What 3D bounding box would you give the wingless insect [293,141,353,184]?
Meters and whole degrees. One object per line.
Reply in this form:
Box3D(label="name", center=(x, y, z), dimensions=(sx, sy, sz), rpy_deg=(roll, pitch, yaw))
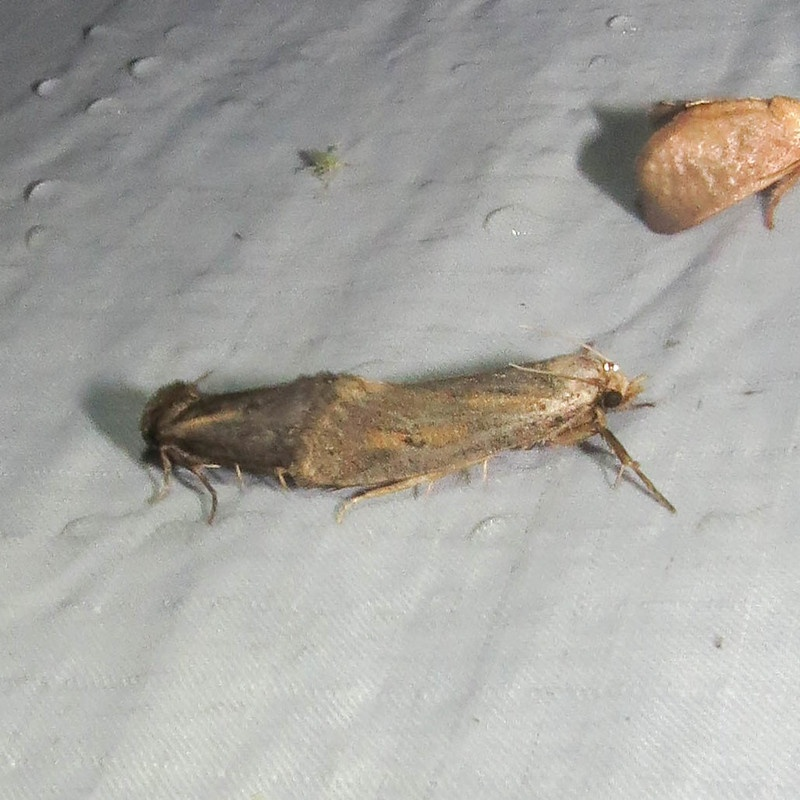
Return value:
Box3D(label="wingless insect", center=(-0.232, -0.698, 4.026), dimensions=(0.120, 0.033, 0.119), rpy_deg=(12, 81, -2))
